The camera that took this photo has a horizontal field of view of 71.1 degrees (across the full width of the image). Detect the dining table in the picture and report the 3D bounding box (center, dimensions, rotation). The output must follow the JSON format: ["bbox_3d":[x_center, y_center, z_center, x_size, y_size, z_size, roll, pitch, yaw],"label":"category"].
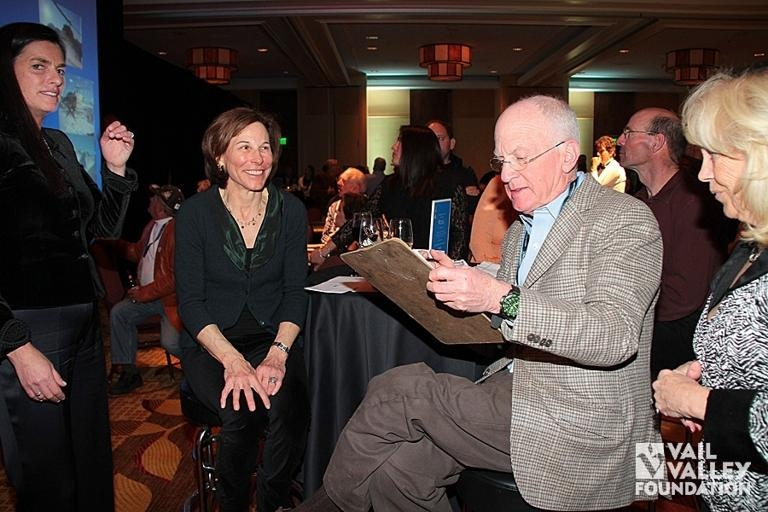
[{"bbox_3d":[-0.026,0.617,2.828,0.831,1.018,0.853,0,0,-3],"label":"dining table"}]

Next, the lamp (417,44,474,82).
[{"bbox_3d":[1.312,-3.981,11.168,1.052,0.655,1.058,9,16,39],"label":"lamp"}]

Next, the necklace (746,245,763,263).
[{"bbox_3d":[1.150,-0.003,1.664,0.030,0.047,0.017,-1,44,-20],"label":"necklace"}]

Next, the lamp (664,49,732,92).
[{"bbox_3d":[6.505,-3.858,11.479,1.003,0.617,1.043,-3,-8,34],"label":"lamp"}]

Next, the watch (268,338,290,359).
[{"bbox_3d":[-0.454,0.402,2.349,0.085,0.058,0.089,22,-12,5],"label":"watch"}]

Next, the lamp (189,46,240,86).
[{"bbox_3d":[-3.434,-3.762,10.897,0.714,0.483,0.709,0,34,29],"label":"lamp"}]

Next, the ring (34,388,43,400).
[{"bbox_3d":[-1.254,0.502,1.952,0.028,0.028,0.007,-7,18,-35],"label":"ring"}]

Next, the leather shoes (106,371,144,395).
[{"bbox_3d":[-2.046,0.999,4.258,0.124,0.137,0.291,3,-5,11],"label":"leather shoes"}]

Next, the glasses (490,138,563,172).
[{"bbox_3d":[0.494,-0.351,1.917,0.139,0.042,0.134,-36,27,-18],"label":"glasses"}]

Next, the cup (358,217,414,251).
[{"bbox_3d":[0.004,-0.107,2.417,0.165,0.139,0.189,0,5,4],"label":"cup"}]

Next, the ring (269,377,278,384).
[{"bbox_3d":[-0.465,0.517,2.236,0.028,0.031,0.015,2,1,-9],"label":"ring"}]
